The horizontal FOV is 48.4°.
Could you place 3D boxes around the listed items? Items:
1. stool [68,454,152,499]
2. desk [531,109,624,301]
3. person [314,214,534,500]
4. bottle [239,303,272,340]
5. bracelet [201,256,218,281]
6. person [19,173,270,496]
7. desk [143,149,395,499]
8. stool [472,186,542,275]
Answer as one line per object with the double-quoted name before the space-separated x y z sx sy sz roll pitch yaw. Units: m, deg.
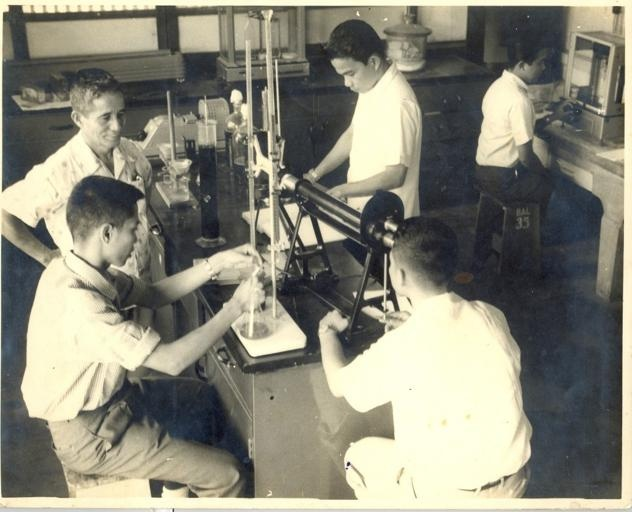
"stool" -0.686 0.698 2.311 0.215 0.155 0.122 -3 21 -8
"desk" 0.979 -0.166 2.622 0.284 0.380 0.546 -12 42 -7
"person" 0.306 0.340 2.143 0.439 0.872 0.556 -22 47 -20
"bottle" -0.175 0.200 2.213 0.089 0.169 0.093 0 17 0
"bracelet" -0.358 0.048 2.405 0.043 0.080 0.078 -3 -10 3
"person" -0.586 0.451 2.403 0.787 1.370 0.595 -1 12 -21
"desk" -0.183 0.359 2.663 0.708 1.044 1.113 -5 32 -7
"stool" 0.741 -0.112 2.688 0.130 0.247 0.257 -4 20 -9
